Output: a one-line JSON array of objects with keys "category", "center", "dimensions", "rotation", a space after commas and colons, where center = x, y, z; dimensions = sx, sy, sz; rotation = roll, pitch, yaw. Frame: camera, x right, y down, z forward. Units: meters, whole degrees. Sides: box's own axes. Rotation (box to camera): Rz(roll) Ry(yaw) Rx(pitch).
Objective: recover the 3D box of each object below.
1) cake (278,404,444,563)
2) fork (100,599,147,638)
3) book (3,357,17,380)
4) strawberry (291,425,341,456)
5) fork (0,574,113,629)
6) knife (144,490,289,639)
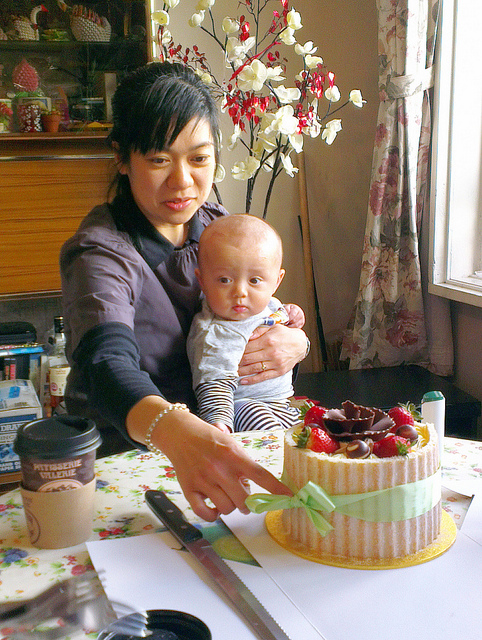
[{"category": "cake", "center": [0.140, 0.176, 0.647], "dimensions": [0.193, 0.119, 0.176], "rotation": [-7, 8, -30]}, {"category": "fork", "center": [-0.104, 0.262, 0.479], "dimensions": [0.039, 0.007, 0.063], "rotation": [-3, 8, -16]}, {"category": "book", "center": [-0.864, 0.180, 2.039], "dimensions": [0.054, 0.080, 0.016], "rotation": [-4, 10, -17]}, {"category": "strawberry", "center": [0.084, 0.134, 0.606], "dimensions": [0.059, 0.031, 0.032], "rotation": [12, 5, -3]}, {"category": "fork", "center": [-0.176, 0.263, 0.510], "dimensions": [0.091, 0.004, 0.052], "rotation": [-4, 9, -23]}, {"category": "knife", "center": [-0.039, 0.246, 0.578], "dimensions": [0.036, 0.021, 0.305], "rotation": [-5, 9, -27]}]
